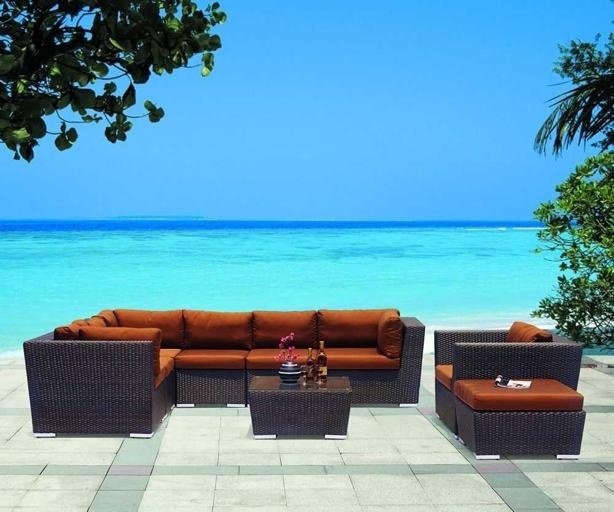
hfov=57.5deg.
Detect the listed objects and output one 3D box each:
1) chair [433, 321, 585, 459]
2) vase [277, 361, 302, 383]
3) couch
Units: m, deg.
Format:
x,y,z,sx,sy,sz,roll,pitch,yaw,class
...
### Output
x,y,z,sx,sy,sz,roll,pitch,yaw,class
1.607,1.049,4.637,1.499,0.816,1.329,0,1,-1,chair
-0.135,1.004,4.829,0.230,0.117,0.186,1,-8,-3,vase
-1.012,0.990,5.187,2.816,0.566,1.449,0,-7,-2,couch
